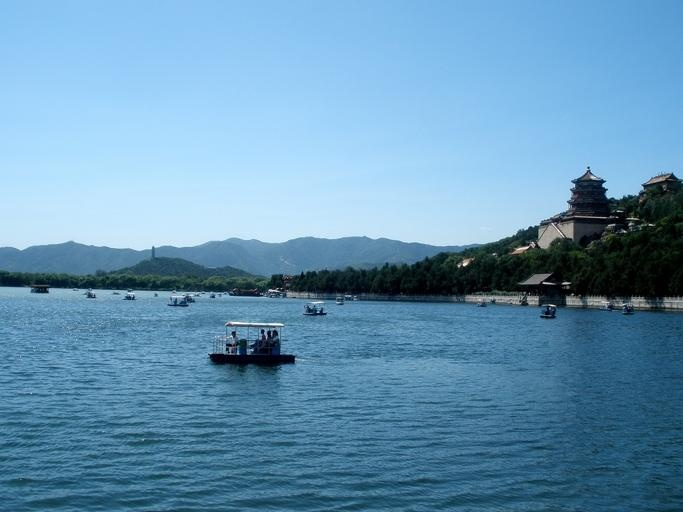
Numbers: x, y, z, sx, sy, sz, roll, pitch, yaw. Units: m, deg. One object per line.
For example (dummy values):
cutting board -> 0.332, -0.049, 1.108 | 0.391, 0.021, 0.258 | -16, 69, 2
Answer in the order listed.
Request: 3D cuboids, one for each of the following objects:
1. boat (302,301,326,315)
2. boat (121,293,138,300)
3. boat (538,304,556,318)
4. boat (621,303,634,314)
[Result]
boat -> -5.915, 10.878, 166.167 | 3.573, 2.297, 4.628 | 2, 2, -6
boat -> -66.463, 12.628, 248.071 | 3.594, 1.874, 4.610 | 2, -1, -17
boat -> 34.036, 9.154, 132.302 | 1.914, 1.977, 5.604 | 1, 3, 8
boat -> 45.233, 8.558, 126.419 | 1.816, 1.221, 3.083 | 2, 5, 21
